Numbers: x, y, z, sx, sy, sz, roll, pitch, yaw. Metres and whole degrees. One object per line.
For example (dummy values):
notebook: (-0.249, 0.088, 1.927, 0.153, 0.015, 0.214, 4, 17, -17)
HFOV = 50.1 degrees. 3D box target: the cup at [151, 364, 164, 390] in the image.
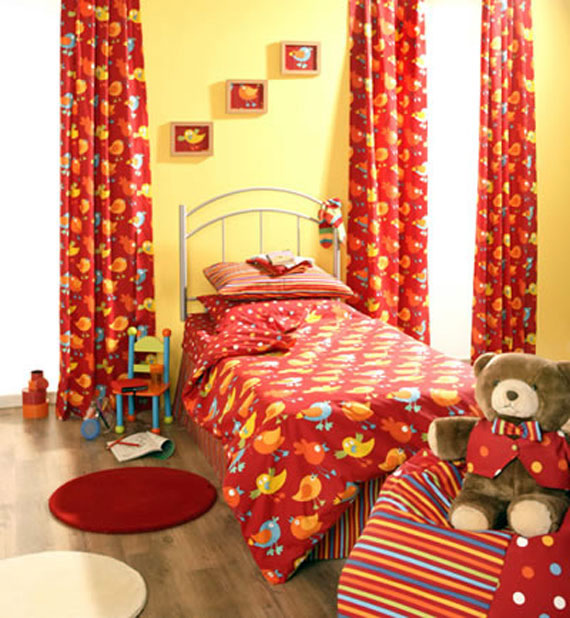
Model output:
cup: (-0.677, 0.355, 3.227, 0.060, 0.110, 0.094, -1, 7, -12)

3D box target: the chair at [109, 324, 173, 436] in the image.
chair: (-0.784, 0.371, 3.335, 0.334, 0.536, 0.604, -1, 6, -12)

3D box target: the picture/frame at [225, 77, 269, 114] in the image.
picture/frame: (-0.234, -1.260, 3.581, 0.279, 0.193, 0.028, -1, 5, -14)

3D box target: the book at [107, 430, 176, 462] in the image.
book: (-0.686, 0.629, 2.876, 0.266, 0.075, 0.373, -2, 6, -25)

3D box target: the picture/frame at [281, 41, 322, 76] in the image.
picture/frame: (0.090, -1.503, 3.630, 0.257, 0.155, 0.018, -1, 4, -14)

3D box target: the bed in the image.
bed: (0.104, 0.166, 2.493, 0.913, 0.946, 1.676, -5, 15, -14)

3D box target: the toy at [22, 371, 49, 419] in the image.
toy: (-1.398, 0.477, 3.416, 0.131, 0.262, 0.184, -2, 7, -23)
